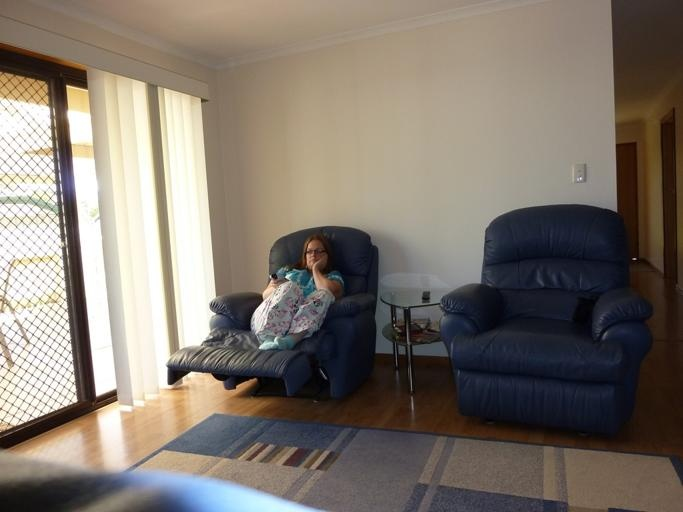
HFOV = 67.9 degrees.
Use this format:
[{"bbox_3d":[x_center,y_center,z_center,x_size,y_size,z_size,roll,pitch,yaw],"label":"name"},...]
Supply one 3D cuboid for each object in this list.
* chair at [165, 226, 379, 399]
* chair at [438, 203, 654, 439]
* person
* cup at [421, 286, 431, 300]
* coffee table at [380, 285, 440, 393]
[{"bbox_3d":[-0.393,0.395,3.666,1.095,1.134,1.515,0,3,17],"label":"chair"},{"bbox_3d":[1.269,0.320,3.206,1.063,1.158,1.236,-1,9,29],"label":"chair"},{"bbox_3d":[-0.273,0.254,3.598,0.507,0.903,0.524,20,-17,-15],"label":"person"},{"bbox_3d":[0.579,0.257,3.526,0.073,0.111,0.072,2,5,0],"label":"cup"},{"bbox_3d":[0.524,0.540,3.683,0.457,0.739,0.981,-3,9,10],"label":"coffee table"}]
